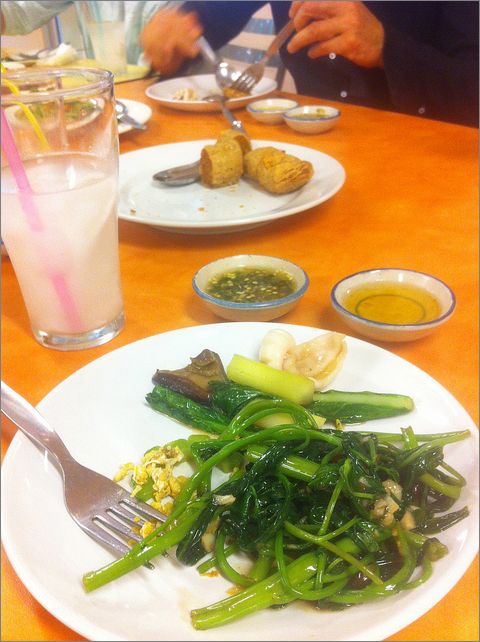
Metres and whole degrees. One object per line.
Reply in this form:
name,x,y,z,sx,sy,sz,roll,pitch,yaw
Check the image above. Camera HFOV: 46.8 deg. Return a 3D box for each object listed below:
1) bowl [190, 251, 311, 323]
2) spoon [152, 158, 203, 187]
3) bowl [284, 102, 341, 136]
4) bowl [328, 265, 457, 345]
bowl,0.018,-0.059,1.091,0.213,0.088,0.222,-3,35,2
spoon,-0.182,-0.434,1.627,0.055,0.029,0.222,16,24,20
bowl,0.279,-0.789,2.173,0.201,0.135,0.248,-9,34,-11
bowl,0.284,-0.025,1.019,0.175,0.049,0.164,-3,34,2
